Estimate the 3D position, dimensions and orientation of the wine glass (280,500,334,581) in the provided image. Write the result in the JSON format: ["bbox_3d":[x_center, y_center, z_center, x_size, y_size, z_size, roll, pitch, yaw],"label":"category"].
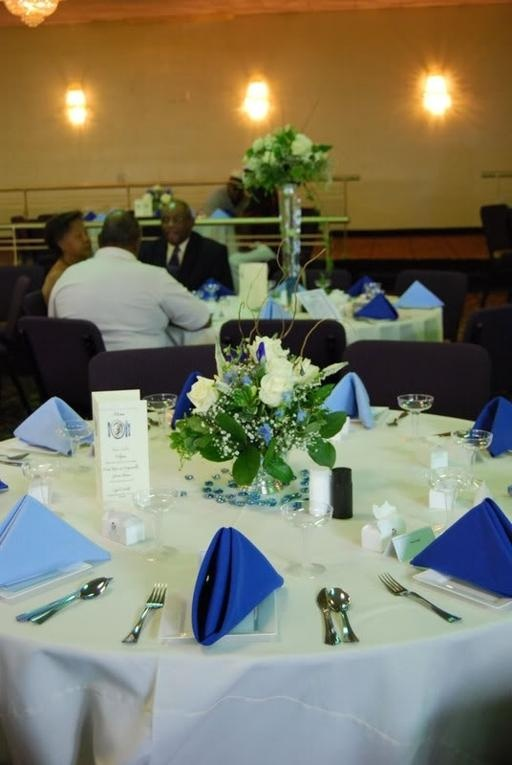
[{"bbox_3d":[0.064,0.238,0.864,0.088,0.112,0.085,1,0,-2],"label":"wine glass"}]

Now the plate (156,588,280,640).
[{"bbox_3d":[-0.044,0.280,0.705,0.142,0.013,0.111,-2,10,0],"label":"plate"}]

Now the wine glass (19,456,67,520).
[{"bbox_3d":[-0.413,0.213,1.162,0.096,0.111,0.102,1,20,-3],"label":"wine glass"}]

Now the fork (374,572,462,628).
[{"bbox_3d":[0.204,0.261,0.762,0.023,0.018,0.152,-14,24,-26],"label":"fork"}]

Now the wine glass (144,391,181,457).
[{"bbox_3d":[-0.247,0.119,1.583,0.135,0.163,0.133,0,0,-3],"label":"wine glass"}]

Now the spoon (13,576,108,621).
[{"bbox_3d":[-0.245,0.280,0.749,0.029,0.018,0.142,5,13,30],"label":"spoon"}]

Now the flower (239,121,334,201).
[{"bbox_3d":[0.107,-0.937,2.549,0.314,0.220,0.310,-5,5,-14],"label":"flower"}]

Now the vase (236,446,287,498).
[{"bbox_3d":[0.021,0.159,1.071,0.093,0.116,0.107,-3,12,7],"label":"vase"}]

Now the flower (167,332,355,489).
[{"bbox_3d":[-0.003,0.067,1.149,0.301,0.297,0.217,17,-7,0],"label":"flower"}]

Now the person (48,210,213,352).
[{"bbox_3d":[-0.651,-0.527,3.022,0.949,0.827,0.504,6,29,4],"label":"person"}]

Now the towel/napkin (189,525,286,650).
[{"bbox_3d":[-0.028,0.243,0.687,0.091,0.045,0.114,12,43,-12],"label":"towel/napkin"}]

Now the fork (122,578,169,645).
[{"bbox_3d":[-0.134,0.282,0.713,0.012,0.010,0.088,-9,21,17],"label":"fork"}]
